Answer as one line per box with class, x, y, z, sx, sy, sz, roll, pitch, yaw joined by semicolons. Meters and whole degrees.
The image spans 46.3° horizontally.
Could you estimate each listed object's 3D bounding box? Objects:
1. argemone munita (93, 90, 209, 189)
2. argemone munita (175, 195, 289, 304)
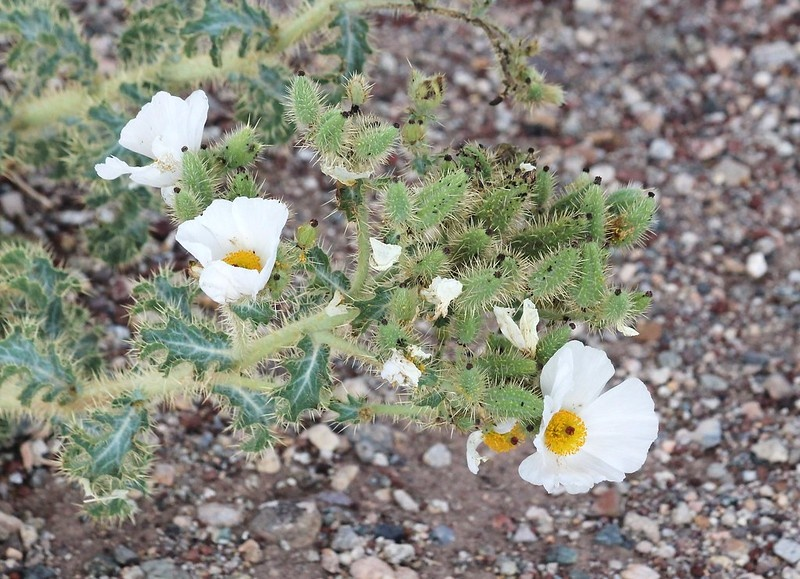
argemone munita;-0.735;-0.459;2.882;0.252;0.179;0.289;11;74;-5
argemone munita;-0.490;-0.108;2.726;0.312;0.205;0.297;3;75;-7
